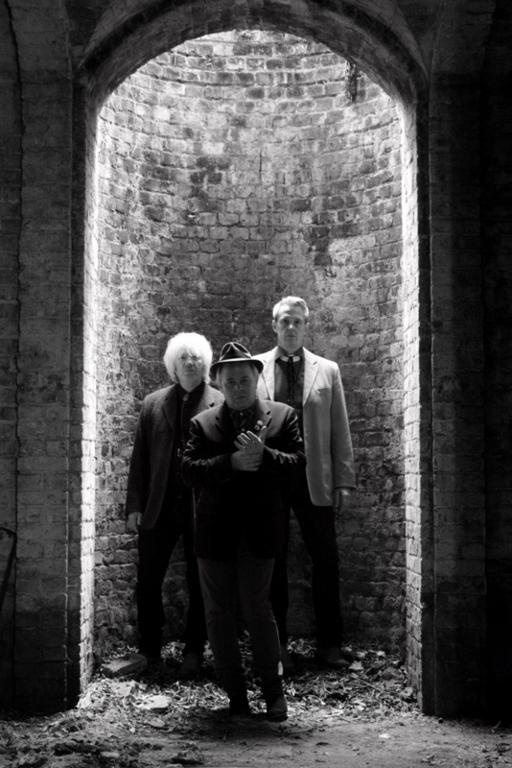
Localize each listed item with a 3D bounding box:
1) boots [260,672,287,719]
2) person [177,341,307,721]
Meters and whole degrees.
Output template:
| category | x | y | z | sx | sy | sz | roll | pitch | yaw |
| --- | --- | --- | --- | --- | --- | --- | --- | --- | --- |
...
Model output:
| category | x | y | z | sx | sy | sz | roll | pitch | yaw |
| --- | --- | --- | --- | --- | --- | --- | --- | --- | --- |
| boots | 0.088 | 1.508 | 5.525 | 0.090 | 0.194 | 0.273 | -6 | 21 | 2 |
| person | -0.064 | 0.708 | 5.405 | 0.578 | 1.820 | 0.607 | -1 | -7 | 2 |
